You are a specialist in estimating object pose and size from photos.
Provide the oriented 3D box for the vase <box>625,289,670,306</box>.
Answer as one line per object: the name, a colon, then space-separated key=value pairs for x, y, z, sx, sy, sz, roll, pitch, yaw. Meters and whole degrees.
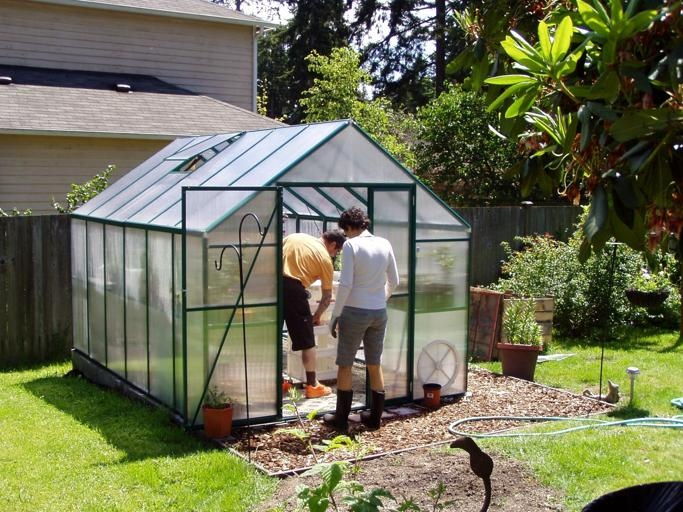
vase: x=4.611 y=0.633 z=11.741 sx=0.589 sy=0.266 sz=0.307 roll=2 pitch=6 yaw=24

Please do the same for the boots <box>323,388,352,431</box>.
boots: x=-0.053 y=1.554 z=8.096 sx=0.339 sy=0.461 sz=0.147 roll=13 pitch=14 yaw=34

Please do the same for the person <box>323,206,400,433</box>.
person: x=0.218 y=0.653 z=8.069 sx=0.726 sy=2.297 sz=0.428 roll=-3 pitch=6 yaw=-26

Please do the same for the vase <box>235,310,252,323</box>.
vase: x=-1.002 y=0.615 z=8.037 sx=0.113 sy=0.083 sz=0.120 roll=0 pitch=-1 yaw=-26

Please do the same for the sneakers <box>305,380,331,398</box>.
sneakers: x=-0.277 y=1.588 z=9.216 sx=0.136 sy=0.153 sz=0.309 roll=6 pitch=7 yaw=41

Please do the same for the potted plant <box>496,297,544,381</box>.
potted plant: x=2.332 y=1.070 z=10.151 sx=0.542 sy=0.981 sz=0.720 roll=1 pitch=6 yaw=16

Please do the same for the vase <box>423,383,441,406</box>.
vase: x=1.025 y=1.569 z=8.809 sx=0.191 sy=0.246 sz=0.205 roll=0 pitch=-3 yaw=20

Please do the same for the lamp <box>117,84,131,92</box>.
lamp: x=-4.451 y=-3.426 z=15.851 sx=0.317 sy=0.192 sz=0.356 roll=-3 pitch=6 yaw=-17
